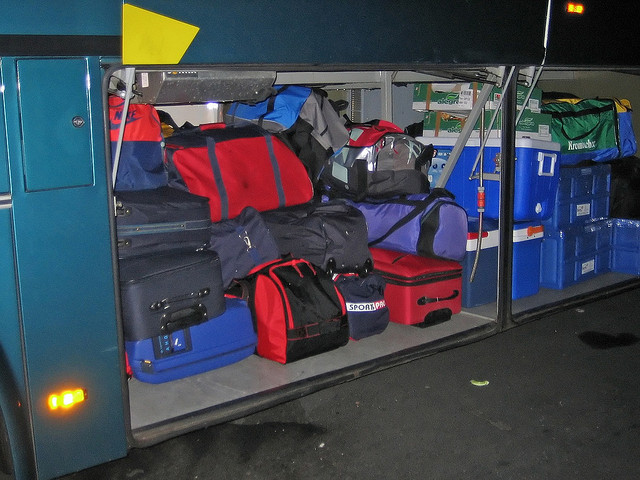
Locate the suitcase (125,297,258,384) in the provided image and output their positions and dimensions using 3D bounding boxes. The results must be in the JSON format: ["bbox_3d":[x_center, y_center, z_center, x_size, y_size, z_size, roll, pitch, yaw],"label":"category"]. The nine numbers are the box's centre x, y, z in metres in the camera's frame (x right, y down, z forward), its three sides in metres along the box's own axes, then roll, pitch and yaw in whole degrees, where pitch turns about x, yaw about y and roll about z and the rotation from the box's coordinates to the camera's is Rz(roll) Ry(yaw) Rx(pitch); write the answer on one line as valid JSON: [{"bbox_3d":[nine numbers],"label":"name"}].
[{"bbox_3d":[-0.828,0.759,3.489,0.685,0.350,0.525,-10,-20,-33],"label":"suitcase"}]

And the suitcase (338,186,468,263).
[{"bbox_3d":[0.672,-0.159,4.593,0.511,0.572,1.223,4,2,-31],"label":"suitcase"}]

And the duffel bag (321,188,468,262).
[{"bbox_3d":[0.677,-0.180,4.657,0.578,0.560,1.337,-6,10,-30],"label":"duffel bag"}]

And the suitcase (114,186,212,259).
[{"bbox_3d":[-0.910,-0.102,3.176,0.402,0.256,0.499,-4,8,-22],"label":"suitcase"}]

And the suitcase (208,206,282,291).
[{"bbox_3d":[-0.531,0.073,3.682,0.436,0.475,0.238,-21,18,-34],"label":"suitcase"}]

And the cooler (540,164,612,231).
[{"bbox_3d":[2.428,-0.445,5.399,0.844,0.598,0.486,-9,12,-26],"label":"cooler"}]

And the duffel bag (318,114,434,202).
[{"bbox_3d":[0.538,-0.719,4.875,0.804,0.758,1.098,10,8,43],"label":"duffel bag"}]

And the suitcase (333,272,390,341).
[{"bbox_3d":[0.295,0.489,4.025,0.437,0.464,0.159,5,-16,-33],"label":"suitcase"}]

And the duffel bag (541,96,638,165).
[{"bbox_3d":[2.536,-1.028,5.180,1.108,0.609,0.333,-10,18,-21],"label":"duffel bag"}]

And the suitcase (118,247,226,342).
[{"bbox_3d":[-0.911,0.266,3.287,0.682,0.466,0.399,-19,33,-34],"label":"suitcase"}]

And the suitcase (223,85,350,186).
[{"bbox_3d":[-0.256,-0.783,4.249,0.789,0.826,0.343,27,25,20],"label":"suitcase"}]

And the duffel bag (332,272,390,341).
[{"bbox_3d":[0.298,0.490,4.039,0.441,0.464,0.159,5,-16,-33],"label":"duffel bag"}]

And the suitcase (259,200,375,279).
[{"bbox_3d":[-0.070,0.073,4.407,1.075,0.497,0.814,-3,2,40],"label":"suitcase"}]

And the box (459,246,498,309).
[{"bbox_3d":[1.313,0.301,4.544,0.429,0.447,0.233,-9,14,-37],"label":"box"}]

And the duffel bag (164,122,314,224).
[{"bbox_3d":[-0.708,-0.550,4.163,1.052,0.728,0.777,-16,24,-35],"label":"duffel bag"}]

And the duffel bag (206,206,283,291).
[{"bbox_3d":[-0.526,-0.003,3.782,0.551,0.565,0.149,33,18,-32],"label":"duffel bag"}]

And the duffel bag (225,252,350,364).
[{"bbox_3d":[-0.258,0.440,3.865,0.794,0.566,0.568,4,8,43],"label":"duffel bag"}]

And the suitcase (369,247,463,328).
[{"bbox_3d":[0.779,0.349,4.313,0.558,0.437,0.790,-8,13,-36],"label":"suitcase"}]

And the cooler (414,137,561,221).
[{"bbox_3d":[1.573,-0.593,5.070,0.669,0.704,1.192,-2,9,-38],"label":"cooler"}]

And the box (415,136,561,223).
[{"bbox_3d":[1.502,-0.579,5.070,0.800,0.775,1.259,-7,10,-38],"label":"box"}]

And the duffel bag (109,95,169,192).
[{"bbox_3d":[-1.151,-0.622,3.427,0.394,0.566,0.305,-2,17,-10],"label":"duffel bag"}]

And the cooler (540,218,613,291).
[{"bbox_3d":[2.529,0.107,5.389,0.957,0.583,0.326,-10,11,-36],"label":"cooler"}]

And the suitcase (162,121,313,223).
[{"bbox_3d":[-0.732,-0.457,4.236,1.087,0.685,0.856,-15,6,-26],"label":"suitcase"}]

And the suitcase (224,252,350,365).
[{"bbox_3d":[-0.265,0.437,3.841,0.804,0.572,0.576,5,9,43],"label":"suitcase"}]
